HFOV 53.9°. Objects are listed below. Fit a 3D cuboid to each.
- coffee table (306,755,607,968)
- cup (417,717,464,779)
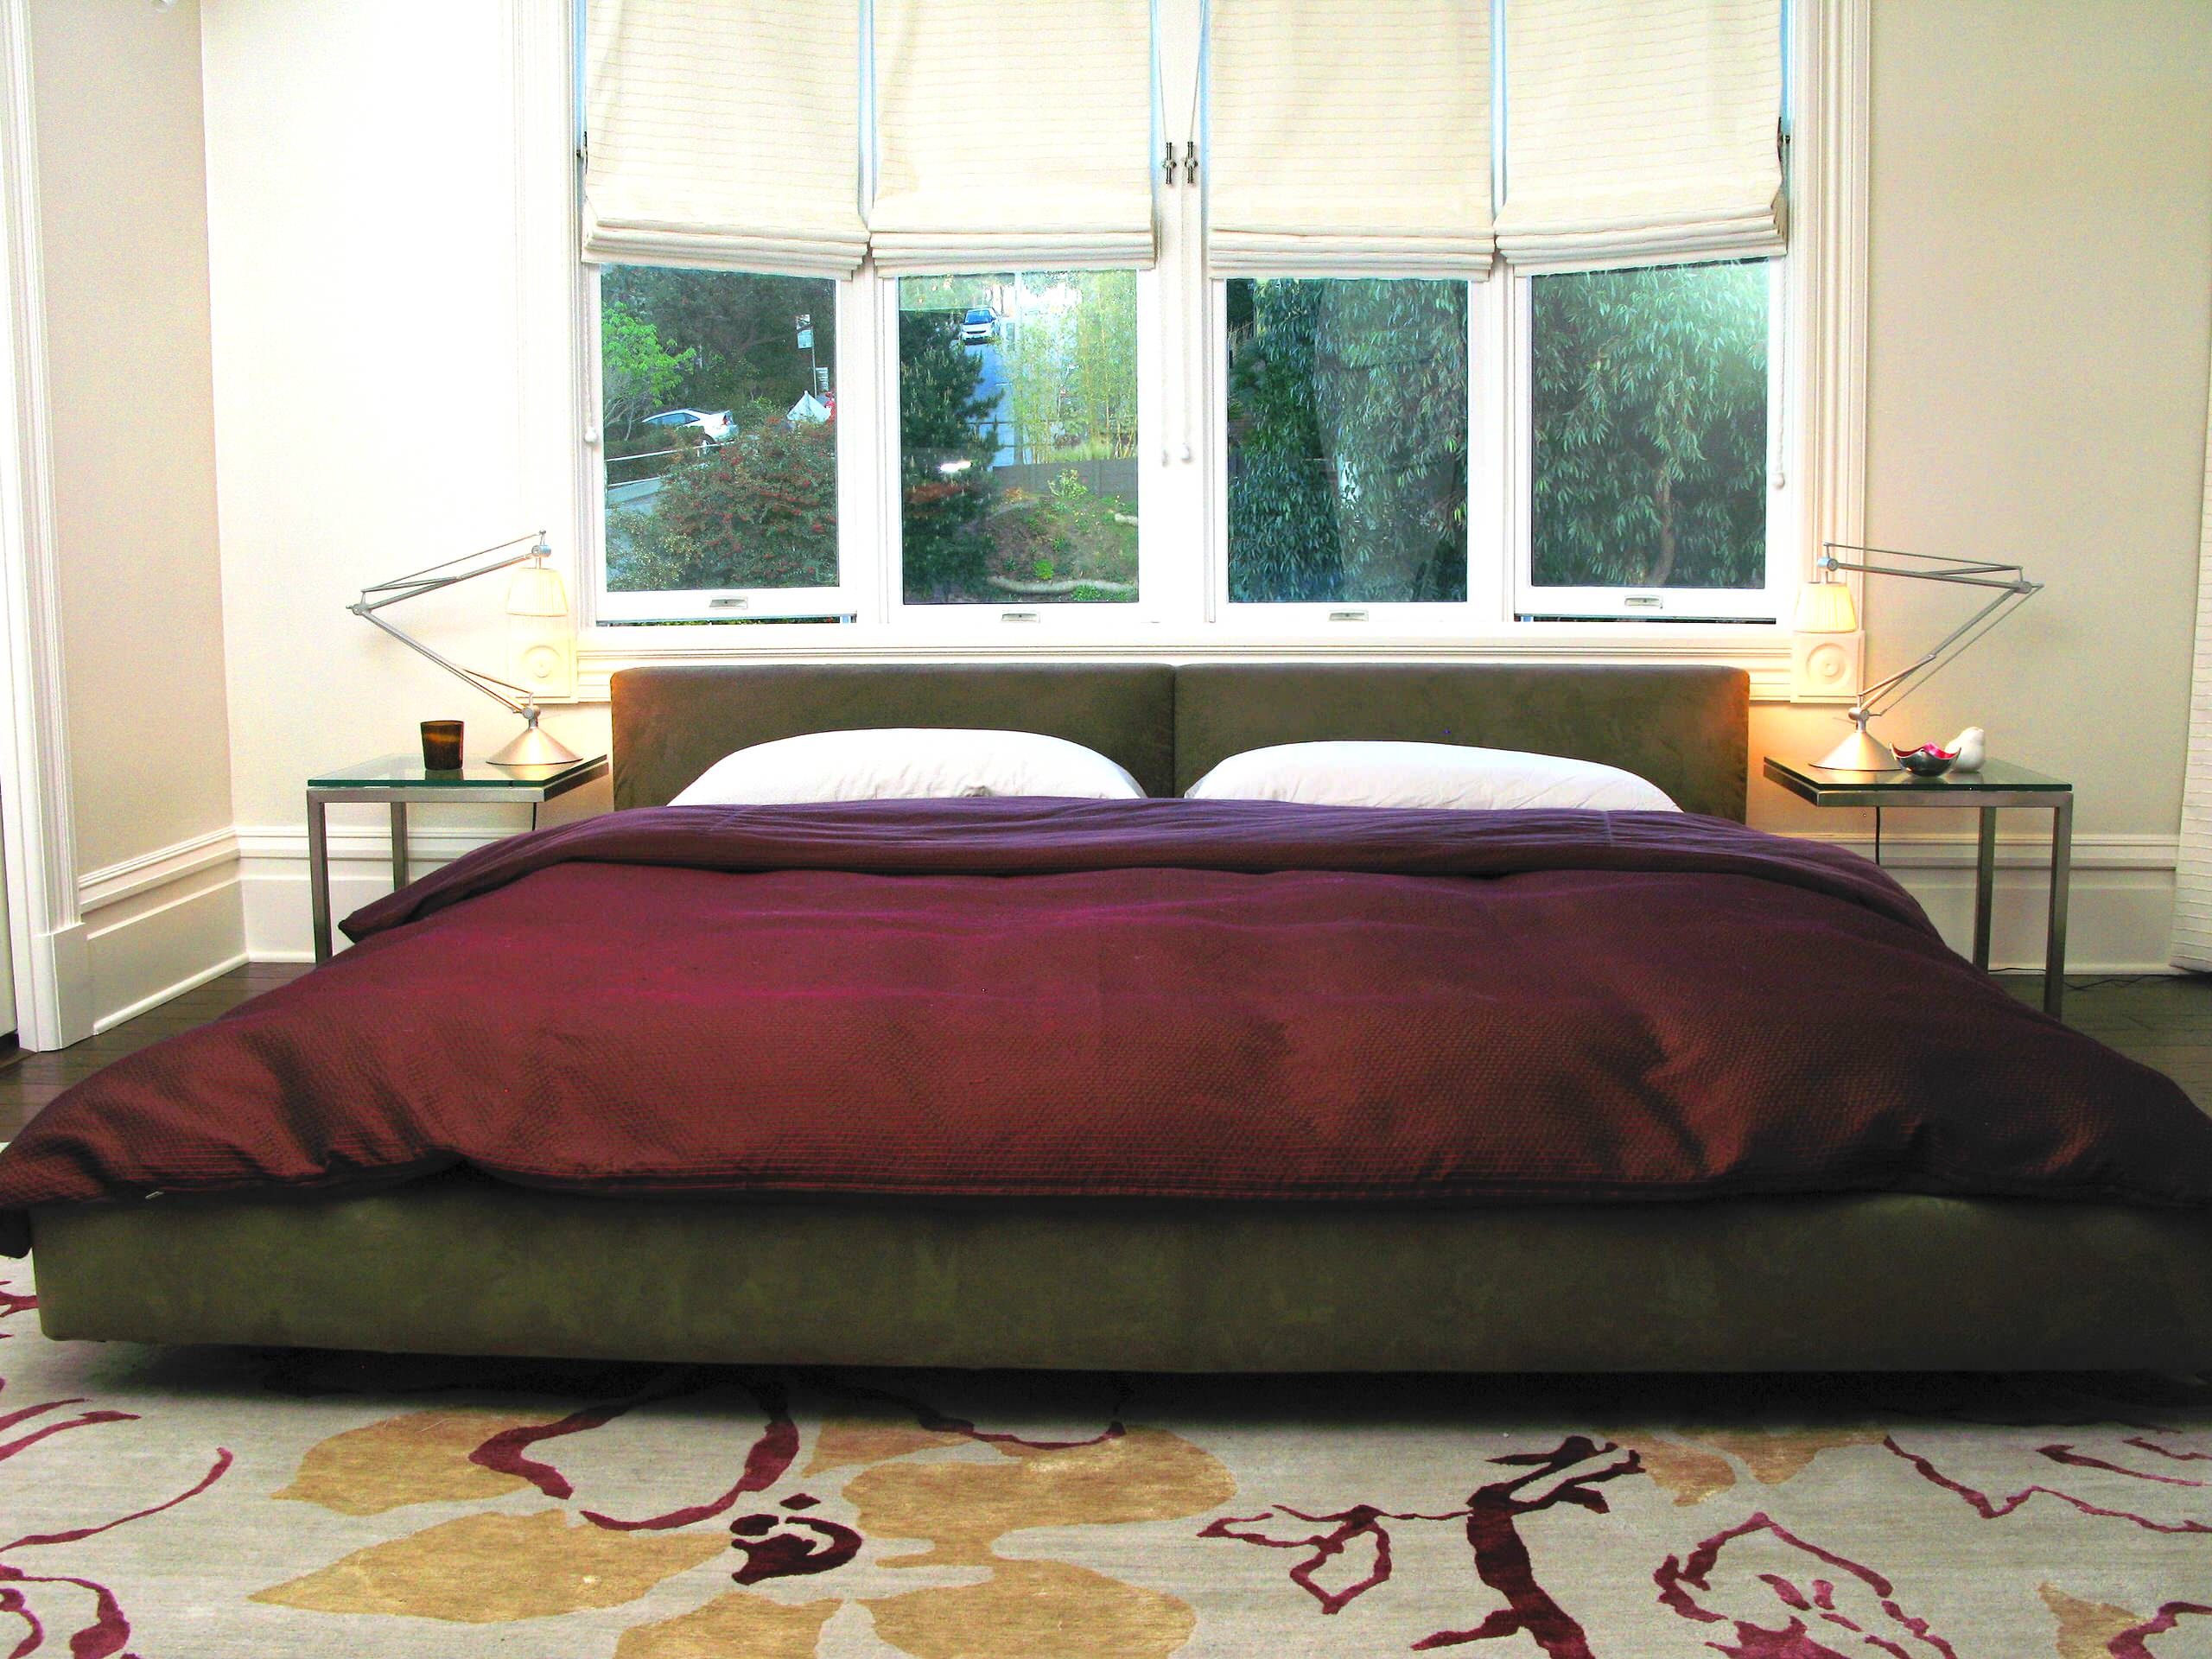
[{"bbox_3d":[-1.725,-0.033,5.649,0.604,0.685,0.763,0,7,-1],"label":"coffee table"},{"bbox_3d":[-1.696,-0.199,5.544,0.153,0.153,0.147,1,6,0],"label":"cup"}]
